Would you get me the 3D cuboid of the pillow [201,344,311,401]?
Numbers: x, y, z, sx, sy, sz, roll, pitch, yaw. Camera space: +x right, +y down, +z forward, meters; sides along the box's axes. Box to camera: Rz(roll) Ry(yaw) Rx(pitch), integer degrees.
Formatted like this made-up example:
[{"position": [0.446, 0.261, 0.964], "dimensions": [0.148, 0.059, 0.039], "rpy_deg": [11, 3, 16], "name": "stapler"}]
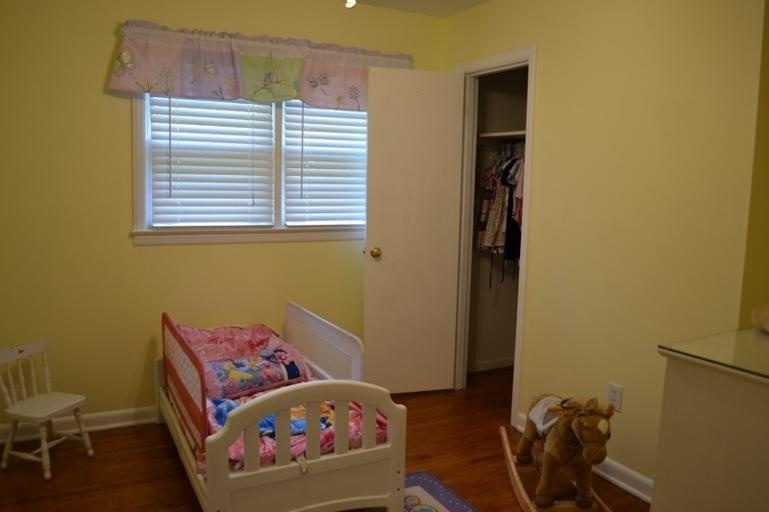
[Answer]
[{"position": [-0.846, 0.766, 3.608], "dimensions": [0.576, 0.189, 0.373], "rpy_deg": [-5, 10, -28], "name": "pillow"}]
